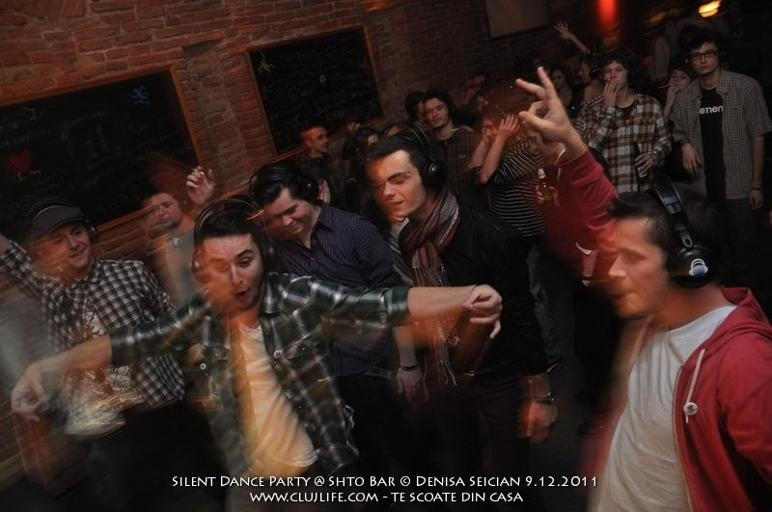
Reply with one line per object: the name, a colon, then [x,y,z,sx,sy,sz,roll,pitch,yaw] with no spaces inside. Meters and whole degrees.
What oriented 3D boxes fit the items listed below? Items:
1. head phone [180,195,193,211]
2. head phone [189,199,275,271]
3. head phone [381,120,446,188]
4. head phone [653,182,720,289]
head phone: [-0.987,-0.260,2.588,0.097,0.068,0.030,41,23,29]
head phone: [-0.592,-0.078,2.068,0.265,0.234,0.102,-17,11,-15]
head phone: [0.135,-0.391,2.143,0.204,0.261,0.118,-11,20,11]
head phone: [0.924,-0.049,1.613,0.115,0.257,0.291,-26,-12,10]
